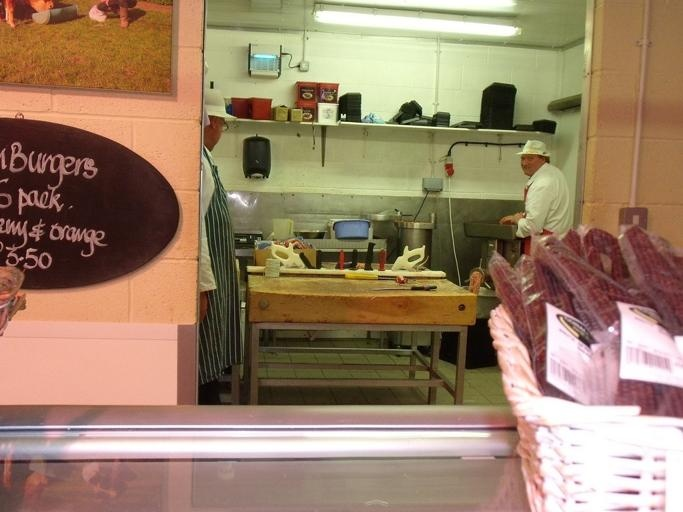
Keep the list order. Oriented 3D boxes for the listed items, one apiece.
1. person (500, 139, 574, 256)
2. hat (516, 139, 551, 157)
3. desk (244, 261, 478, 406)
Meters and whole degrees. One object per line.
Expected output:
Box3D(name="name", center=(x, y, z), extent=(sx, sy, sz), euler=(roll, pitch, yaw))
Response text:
Box3D(name="person", center=(1.664, -0.528, 5.427), extent=(0.595, 0.947, 1.412), euler=(2, 10, 19))
Box3D(name="hat", center=(1.628, -0.935, 5.509), extent=(0.237, 0.096, 0.266), euler=(-6, 13, -27))
Box3D(name="desk", center=(0.000, 0.501, 3.575), extent=(1.197, 0.706, 0.877), euler=(3, 5, -8))
